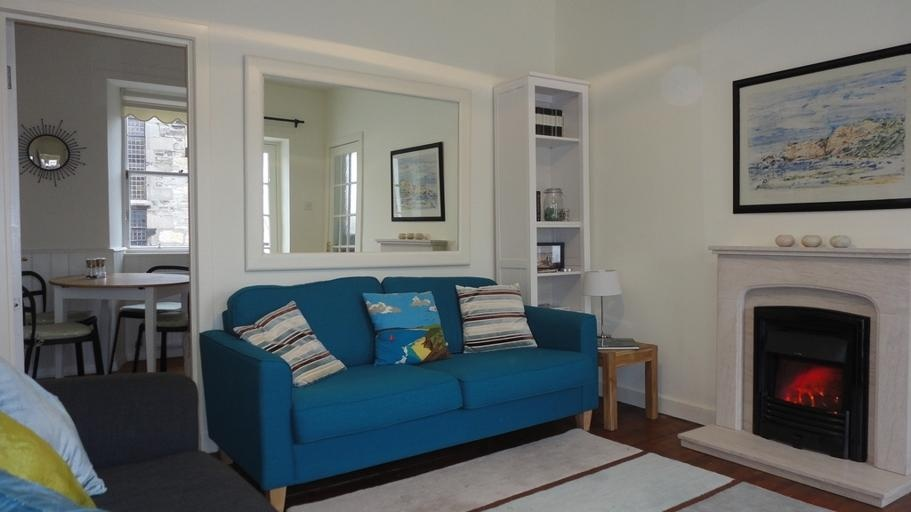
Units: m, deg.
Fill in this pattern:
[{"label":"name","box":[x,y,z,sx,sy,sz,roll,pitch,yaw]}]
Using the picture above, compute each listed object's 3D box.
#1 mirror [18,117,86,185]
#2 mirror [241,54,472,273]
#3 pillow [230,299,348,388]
[{"label":"mirror","box":[-4.623,-1.186,6.740,0.678,0.754,0.163,-4,5,-6]},{"label":"mirror","box":[-0.985,-0.852,5.362,2.581,1.754,0.102,0,1,-27]},{"label":"pillow","box":[-1.301,0.671,4.583,0.697,0.578,0.440,-2,5,20]}]
